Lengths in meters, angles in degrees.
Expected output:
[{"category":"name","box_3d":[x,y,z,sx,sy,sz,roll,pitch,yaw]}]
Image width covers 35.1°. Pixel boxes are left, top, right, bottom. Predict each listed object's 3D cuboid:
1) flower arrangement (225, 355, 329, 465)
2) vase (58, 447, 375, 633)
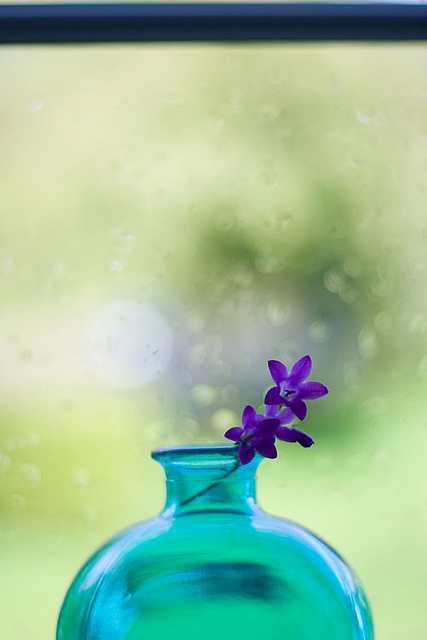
[{"category":"flower arrangement","box_3d":[0.042,0.068,0.561,0.061,0.062,0.084,-24,-49,-31]},{"category":"vase","box_3d":[0.003,0.134,0.543,0.208,0.160,0.195,-2,-10,8]}]
